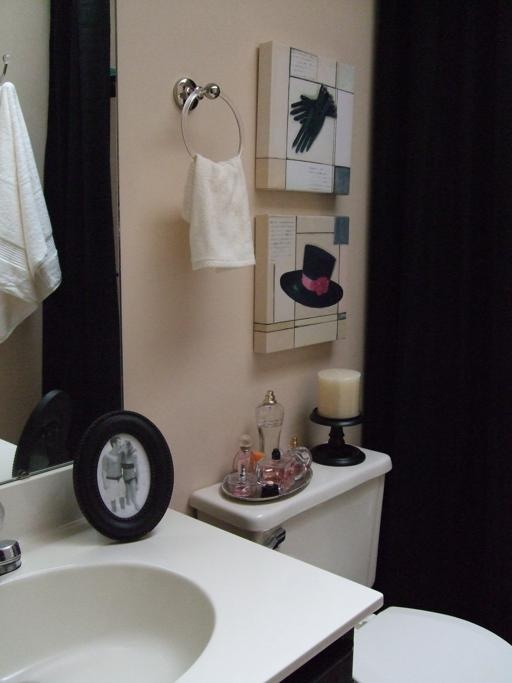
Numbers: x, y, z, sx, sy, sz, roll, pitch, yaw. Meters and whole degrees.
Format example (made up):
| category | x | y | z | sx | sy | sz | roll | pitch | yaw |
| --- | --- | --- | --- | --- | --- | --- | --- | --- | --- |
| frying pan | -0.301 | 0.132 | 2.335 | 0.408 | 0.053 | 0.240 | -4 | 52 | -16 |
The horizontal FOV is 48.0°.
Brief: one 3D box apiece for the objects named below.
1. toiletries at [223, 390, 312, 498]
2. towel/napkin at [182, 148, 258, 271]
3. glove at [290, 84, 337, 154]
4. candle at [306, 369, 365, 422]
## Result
| category | x | y | z | sx | sy | sz | roll | pitch | yaw |
| --- | --- | --- | --- | --- | --- | --- | --- | --- | --- |
| toiletries | 0.034 | 0.198 | 1.169 | 0.227 | 0.197 | 0.144 | -11 | 18 | -36 |
| towel/napkin | -0.061 | -0.234 | 1.014 | 0.136 | 0.215 | 0.059 | -2 | 4 | -44 |
| glove | 0.105 | -0.506 | 1.296 | 0.040 | 0.151 | 0.134 | 19 | 13 | 33 |
| candle | 0.188 | 0.117 | 1.343 | 0.092 | 0.113 | 0.105 | 2 | 7 | 16 |
